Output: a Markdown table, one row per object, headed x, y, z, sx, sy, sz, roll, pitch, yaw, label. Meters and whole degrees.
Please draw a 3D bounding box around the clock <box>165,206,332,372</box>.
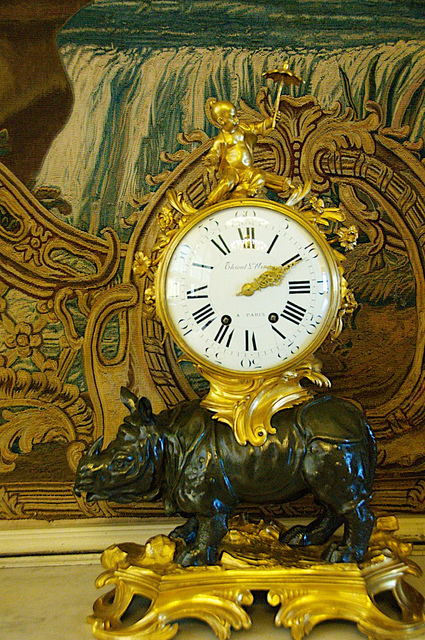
| x | y | z | sx | sy | sz | roll | pitch | yaw | label |
| --- | --- | --- | --- | --- | --- | --- | --- | --- | --- |
| 0.098 | -0.086 | 3.235 | 0.510 | 0.445 | 0.078 | -2 | -1 | 9 | clock |
